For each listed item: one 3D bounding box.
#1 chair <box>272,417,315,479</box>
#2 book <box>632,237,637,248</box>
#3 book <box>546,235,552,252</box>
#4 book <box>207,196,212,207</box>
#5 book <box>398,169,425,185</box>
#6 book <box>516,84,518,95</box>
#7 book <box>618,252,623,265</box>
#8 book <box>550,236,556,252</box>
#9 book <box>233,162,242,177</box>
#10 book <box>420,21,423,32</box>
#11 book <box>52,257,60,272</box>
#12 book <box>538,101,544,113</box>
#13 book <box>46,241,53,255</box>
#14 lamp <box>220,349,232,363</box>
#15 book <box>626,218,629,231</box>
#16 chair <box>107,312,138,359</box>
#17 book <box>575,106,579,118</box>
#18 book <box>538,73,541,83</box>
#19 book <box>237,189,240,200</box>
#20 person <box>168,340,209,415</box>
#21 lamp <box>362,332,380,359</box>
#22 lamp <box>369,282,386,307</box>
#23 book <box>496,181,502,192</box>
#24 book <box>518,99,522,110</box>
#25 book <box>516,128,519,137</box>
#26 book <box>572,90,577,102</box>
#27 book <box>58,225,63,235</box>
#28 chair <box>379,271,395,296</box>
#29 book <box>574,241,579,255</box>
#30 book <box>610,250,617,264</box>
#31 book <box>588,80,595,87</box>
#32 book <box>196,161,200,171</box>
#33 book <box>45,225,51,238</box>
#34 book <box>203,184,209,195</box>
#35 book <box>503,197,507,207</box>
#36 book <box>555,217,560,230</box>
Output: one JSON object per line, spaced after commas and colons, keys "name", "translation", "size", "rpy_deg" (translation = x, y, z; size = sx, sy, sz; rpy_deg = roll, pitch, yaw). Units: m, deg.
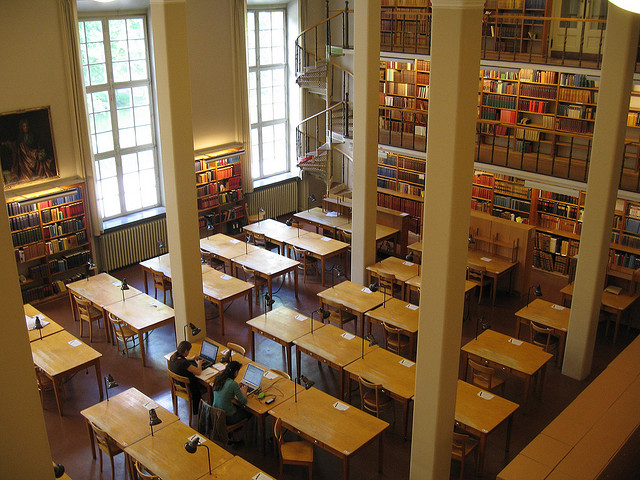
{"name": "chair", "translation": [-0.320, 2.553, 6.518], "size": [0.475, 0.816, 0.470], "rpy_deg": [0, 33, 2]}
{"name": "book", "translation": [6.044, 0.019, 10.229], "size": [0.054, 0.182, 0.062], "rpy_deg": [10, 24, 31]}
{"name": "book", "translation": [4.846, 0.052, 11.286], "size": [0.057, 0.259, 0.253], "rpy_deg": [4, 3, 14]}
{"name": "book", "translation": [-2.654, -0.951, 12.804], "size": [0.090, 0.276, 0.032], "rpy_deg": [-16, 24, -32]}
{"name": "book", "translation": [2.307, -1.623, 13.262], "size": [0.673, 0.244, 0.240], "rpy_deg": [18, 28, 37]}
{"name": "book", "translation": [4.229, -3.241, 11.430], "size": [0.008, 0.170, 0.041], "rpy_deg": [-16, 24, -32]}
{"name": "book", "translation": [5.722, 0.323, 10.151], "size": [0.038, 0.183, 0.174], "rpy_deg": [9, 15, 16]}
{"name": "book", "translation": [4.916, 0.058, 11.262], "size": [0.103, 0.315, 0.064], "rpy_deg": [-15, 24, -30]}
{"name": "book", "translation": [-2.063, -1.806, 13.217], "size": [0.145, 0.284, 0.279], "rpy_deg": [12, 20, 35]}
{"name": "book", "translation": [2.429, -5.156, 12.781], "size": [0.069, 0.237, 0.041], "rpy_deg": [9, 24, 29]}
{"name": "book", "translation": [-5.241, 0.478, 10.659], "size": [0.174, 0.185, 0.185], "rpy_deg": [-14, 23, -32]}
{"name": "book", "translation": [4.653, -2.843, 11.218], "size": [0.114, 0.222, 0.215], "rpy_deg": [1, 4, -7]}
{"name": "book", "translation": [-5.303, 0.117, 10.421], "size": [0.098, 0.187, 0.181], "rpy_deg": [-13, 26, -34]}
{"name": "lamp", "translation": [-1.251, 1.537, 7.101], "size": [0.062, 0.093, 0.222], "rpy_deg": [9, 16, 9]}
{"name": "book", "translation": [5.936, -0.332, 10.298], "size": [0.017, 0.236, 0.042], "rpy_deg": [-21, 27, -40]}
{"name": "chair", "translation": [-3.271, 1.579, 8.924], "size": [0.513, 0.593, 0.541], "rpy_deg": [0, 9, 2]}
{"name": "book", "translation": [5.201, -2.609, 10.783], "size": [0.033, 0.140, 0.145], "rpy_deg": [7, 2, 7]}
{"name": "book", "translation": [4.573, -3.410, 11.084], "size": [0.059, 0.175, 0.014], "rpy_deg": [12, 25, 34]}
{"name": "book", "translation": [-2.040, -1.181, 13.333], "size": [0.069, 0.237, 0.040], "rpy_deg": [-14, 23, -27]}
{"name": "person", "translation": [-1.828, 2.113, 7.643], "size": [0.568, 0.881, 0.498], "rpy_deg": [-17, 27, -38]}
{"name": "lamp", "translation": [0.758, 1.438, 7.836], "size": [0.267, 0.455, 0.179], "rpy_deg": [2, 15, 27]}
{"name": "lamp", "translation": [0.935, 0.773, 8.720], "size": [0.248, 0.388, 0.173], "rpy_deg": [3, 17, 11]}
{"name": "book", "translation": [4.023, -1.240, 11.956], "size": [0.049, 0.222, 0.217], "rpy_deg": [4, -2, 6]}
{"name": "book", "translation": [4.295, -2.951, 11.478], "size": [0.053, 0.212, 0.011], "rpy_deg": [7, 22, 24]}
{"name": "book", "translation": [4.331, -2.373, 11.681], "size": [0.056, 0.165, 0.020], "rpy_deg": [5, 22, 21]}
{"name": "book", "translation": [5.128, -2.926, 10.719], "size": [0.066, 0.232, 0.012], "rpy_deg": [8, 23, 27]}
{"name": "book", "translation": [-5.134, -0.218, 10.527], "size": [0.134, 0.143, 0.099], "rpy_deg": [7, 12, 39]}
{"name": "chair", "translation": [1.191, 0.750, 9.509], "size": [0.236, 0.425, 0.255], "rpy_deg": [19, 37, 32]}
{"name": "book", "translation": [5.278, 0.138, 10.944], "size": [0.045, 0.213, 0.203], "rpy_deg": [8, 4, 6]}
{"name": "book", "translation": [5.619, 0.280, 10.209], "size": [0.039, 0.181, 0.175], "rpy_deg": [9, 37, 13]}
{"name": "book", "translation": [5.336, -3.100, 10.455], "size": [0.099, 0.094, 0.051], "rpy_deg": [28, 48, 33]}
{"name": "book", "translation": [-2.844, -1.786, 12.503], "size": [0.023, 0.187, 0.049], "rpy_deg": [6, 22, 22]}
{"name": "book", "translation": [-5.307, -0.205, 10.364], "size": [0.096, 0.179, 0.178], "rpy_deg": [-7, 29, -20]}
{"name": "book", "translation": [-2.734, -1.233, 12.776], "size": [0.033, 0.154, 0.145], "rpy_deg": [5, 1, 32]}
{"name": "book", "translation": [4.145, -0.870, 11.843], "size": [0.114, 0.181, 0.172], "rpy_deg": [5, 14, 22]}
{"name": "book", "translation": [5.022, -0.375, 11.269], "size": [0.063, 0.259, 0.032], "rpy_deg": [7, 22, 23]}
